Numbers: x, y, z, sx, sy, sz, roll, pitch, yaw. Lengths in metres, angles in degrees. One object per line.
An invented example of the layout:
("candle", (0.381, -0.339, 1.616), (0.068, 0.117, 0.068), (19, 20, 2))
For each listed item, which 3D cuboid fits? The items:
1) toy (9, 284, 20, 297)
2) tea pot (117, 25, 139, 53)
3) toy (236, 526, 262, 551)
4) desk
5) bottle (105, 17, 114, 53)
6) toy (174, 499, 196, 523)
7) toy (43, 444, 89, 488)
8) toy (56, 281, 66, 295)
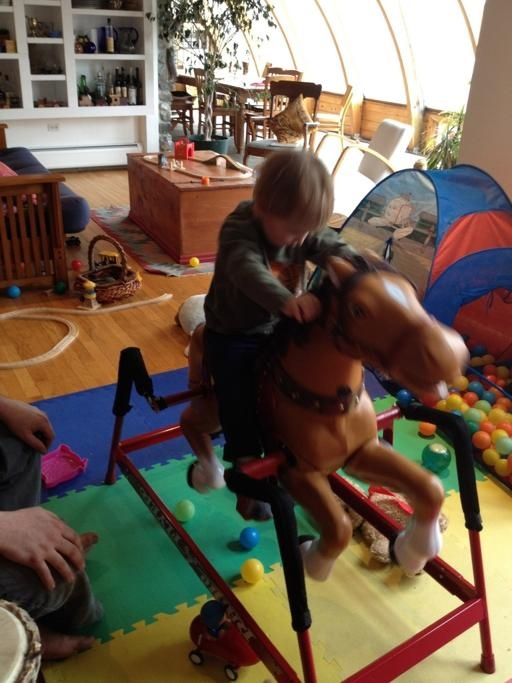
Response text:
("toy", (-1.581, -0.327, 3.094), (0.079, 0.074, 0.121), (-3, 24, -24))
("tea pot", (-1.548, -3.589, 5.681), (0.342, 0.305, 0.222), (-5, 40, -16))
("toy", (-0.022, 0.587, 1.416), (0.060, 0.067, 0.059), (11, -6, -31))
("desk", (-0.553, -1.229, 4.221), (0.804, 0.609, 1.441), (-13, 34, -25))
("bottle", (-1.714, -3.556, 5.572), (0.108, 0.378, 0.208), (0, 23, -18))
("toy", (-0.227, 0.533, 1.501), (0.065, 0.071, 0.062), (-3, 26, -10))
("toy", (-0.686, 0.442, 1.704), (0.123, 0.036, 0.127), (24, 31, 38))
("toy", (-1.283, -0.346, 3.112), (0.056, 0.064, 0.056), (30, 35, 18))
